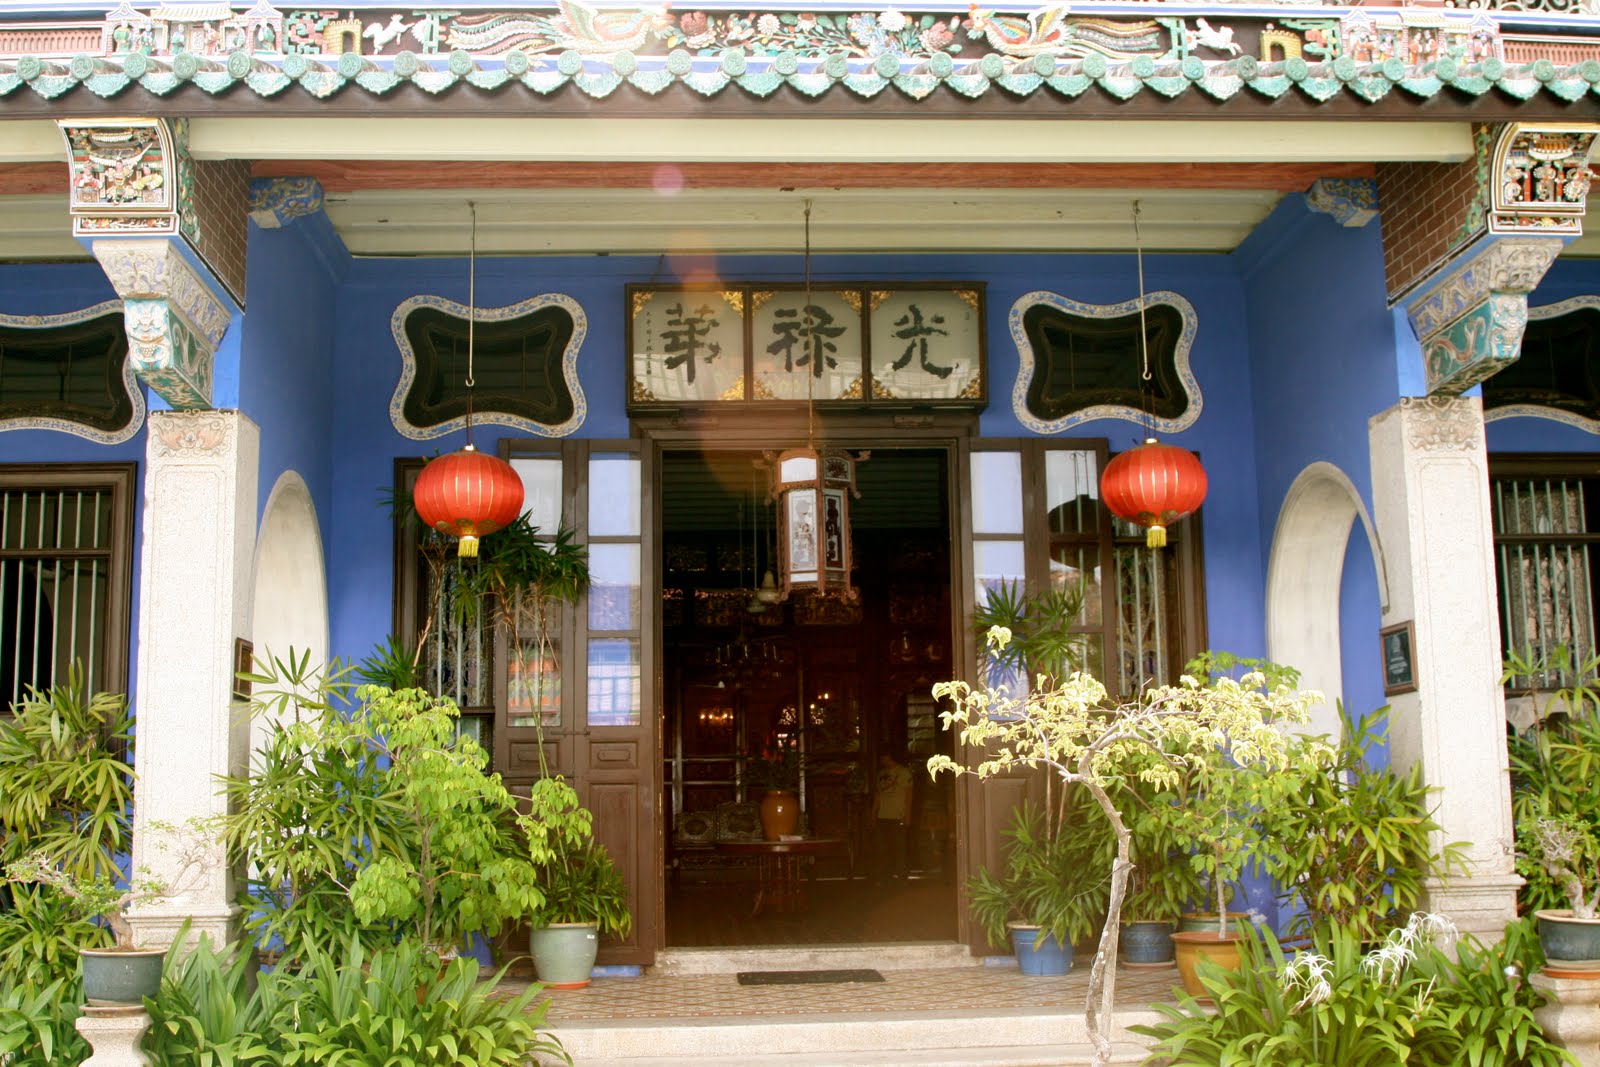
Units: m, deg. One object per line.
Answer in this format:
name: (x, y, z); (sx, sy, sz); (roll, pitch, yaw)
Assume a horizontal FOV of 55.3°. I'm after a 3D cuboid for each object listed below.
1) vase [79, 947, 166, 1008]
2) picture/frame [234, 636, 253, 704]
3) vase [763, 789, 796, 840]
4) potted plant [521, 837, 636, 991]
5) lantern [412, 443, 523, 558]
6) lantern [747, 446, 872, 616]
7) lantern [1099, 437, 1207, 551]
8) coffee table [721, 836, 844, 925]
vase: (-2.957, 1.914, 6.605); (0.245, 0.164, 0.249); (1, -19, -2)
picture/frame: (-2.795, 0.671, 7.635); (0.090, 0.315, 0.253); (1, -9, -20)
vase: (-0.206, 2.111, 11.515); (0.295, 0.379, 0.291); (4, -4, -43)
potted plant: (-1.261, 2.132, 8.719); (0.626, 0.916, 0.683); (-5, -8, 40)
lantern: (-1.809, -0.155, 8.277); (0.570, 0.655, 0.584); (-2, -2, 25)
lantern: (0.058, -0.084, 8.795); (0.457, 0.872, 0.469); (-3, -9, 6)
lantern: (1.975, -0.219, 8.733); (0.562, 0.642, 0.601); (1, -6, -7)
coffee table: (-0.098, 2.530, 11.593); (0.838, 0.538, 0.849); (1, -6, -4)
